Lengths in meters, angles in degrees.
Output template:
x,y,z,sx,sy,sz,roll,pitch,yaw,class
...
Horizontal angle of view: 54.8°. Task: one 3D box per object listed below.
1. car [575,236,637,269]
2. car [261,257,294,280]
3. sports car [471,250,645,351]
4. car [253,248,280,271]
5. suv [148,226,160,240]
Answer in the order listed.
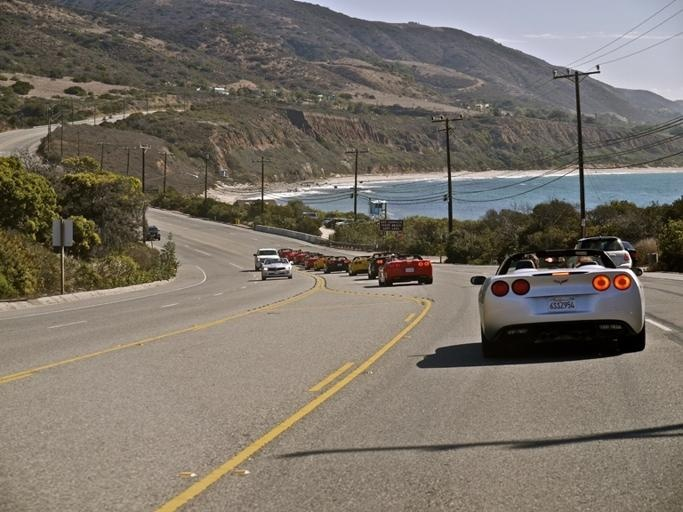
x,y,z,sx,sy,sz,roll,pitch,yaw,class
7.385,-0.109,18.285,1.075,1.020,1.956,1,7,11,car
-4.133,0.845,41.648,1.688,1.248,2.290,-3,2,-22,car
3.419,0.767,10.507,2.301,1.681,1.635,-2,2,-17,sports car
-5.479,0.146,48.592,1.617,1.328,2.849,-1,-3,-10,car
-19.977,-2.474,69.788,1.384,1.151,3.071,-5,-3,-10,suv
